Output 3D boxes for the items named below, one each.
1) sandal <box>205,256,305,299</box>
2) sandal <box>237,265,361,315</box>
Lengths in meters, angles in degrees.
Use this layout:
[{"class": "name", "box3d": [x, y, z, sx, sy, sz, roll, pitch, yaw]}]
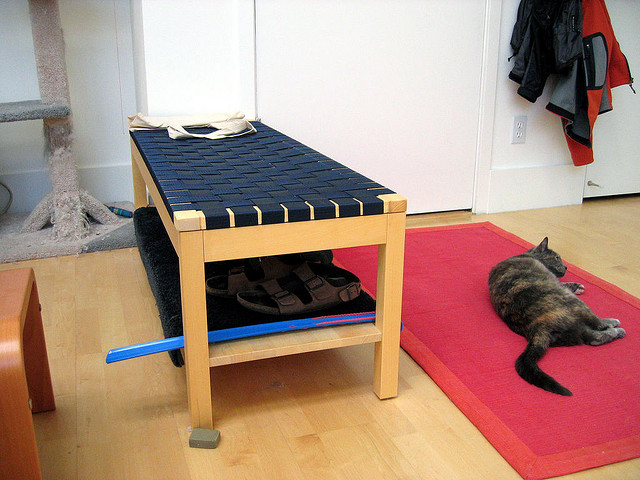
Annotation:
[{"class": "sandal", "box3d": [-0.170, 0.090, 1.405, 0.314, 0.091, 0.109, -7, 16, -23]}, {"class": "sandal", "box3d": [-0.061, 0.134, 1.331, 0.340, 0.072, 0.151, -7, 24, -17]}]
